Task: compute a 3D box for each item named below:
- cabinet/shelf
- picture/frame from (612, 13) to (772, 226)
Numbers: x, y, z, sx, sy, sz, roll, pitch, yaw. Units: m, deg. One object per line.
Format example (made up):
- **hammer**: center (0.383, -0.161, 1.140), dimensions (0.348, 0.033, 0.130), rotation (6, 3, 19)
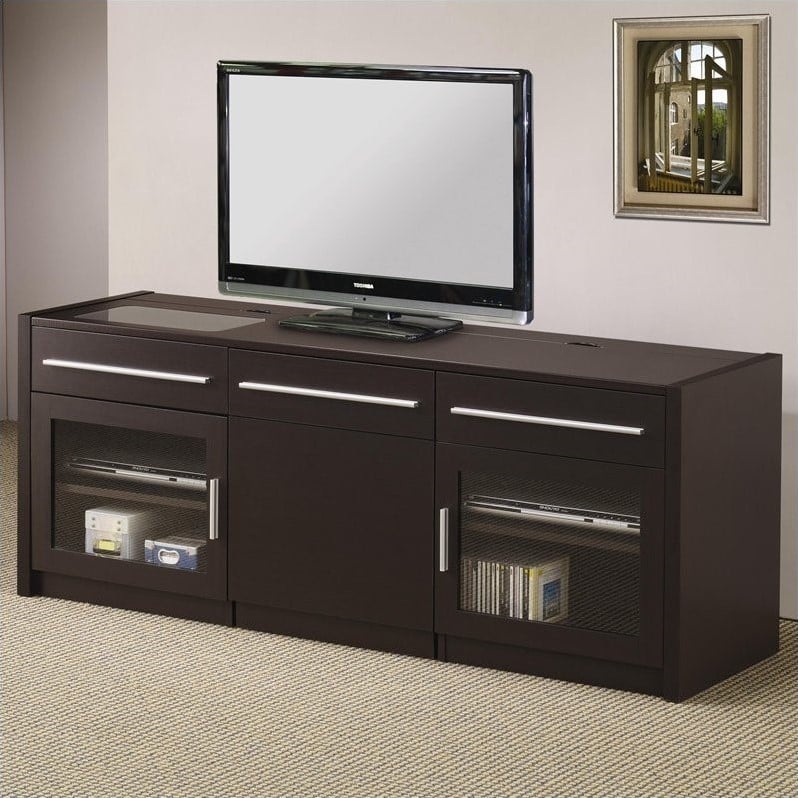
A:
- **cabinet/shelf**: center (-0.154, 0.240, 2.778), dimensions (1.993, 0.932, 0.676), rotation (5, 9, 12)
- **picture/frame**: center (0.878, -0.843, 2.526), dimensions (0.537, 0.803, 0.048), rotation (3, 8, 25)
